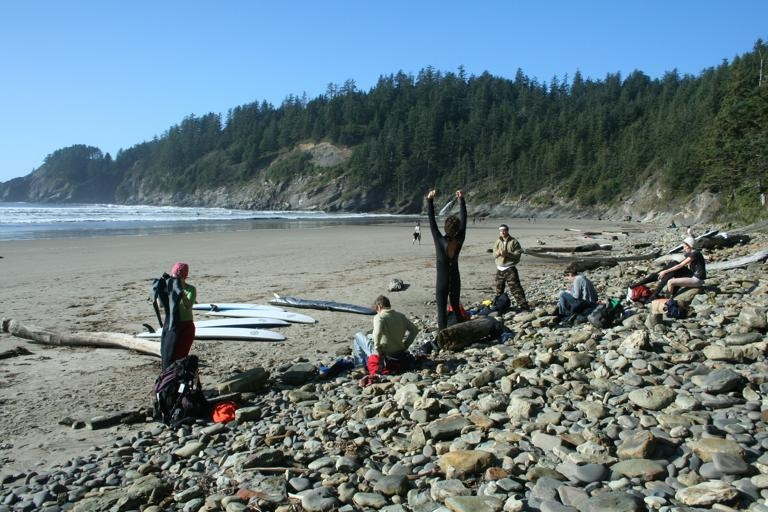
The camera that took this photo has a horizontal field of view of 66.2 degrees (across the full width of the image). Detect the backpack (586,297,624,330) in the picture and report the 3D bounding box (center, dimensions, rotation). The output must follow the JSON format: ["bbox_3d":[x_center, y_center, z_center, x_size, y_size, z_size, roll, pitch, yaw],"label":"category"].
[{"bbox_3d":[4.584,1.229,12.304,0.807,0.390,0.545,-29,4,-11],"label":"backpack"}]

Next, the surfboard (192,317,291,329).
[{"bbox_3d":[-3.629,1.733,15.188,2.576,0.145,0.573,3,5,-2],"label":"surfboard"}]

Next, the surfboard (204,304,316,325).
[{"bbox_3d":[-3.454,1.610,16.072,2.068,0.328,0.406,4,16,17],"label":"surfboard"}]

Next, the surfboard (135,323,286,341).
[{"bbox_3d":[-4.015,1.765,13.572,3.355,0.388,0.703,2,9,-7],"label":"surfboard"}]

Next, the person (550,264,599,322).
[{"bbox_3d":[4.345,0.946,13.246,0.990,0.914,0.785,-3,6,-2],"label":"person"}]

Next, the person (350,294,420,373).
[{"bbox_3d":[-0.005,1.727,12.804,1.115,1.738,1.194,-11,26,-29],"label":"person"}]

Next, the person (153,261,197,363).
[{"bbox_3d":[-3.854,1.117,10.909,0.861,1.942,0.685,2,8,38],"label":"person"}]

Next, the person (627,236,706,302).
[{"bbox_3d":[6.688,0.353,13.958,1.821,1.234,0.692,-10,8,12],"label":"person"}]
